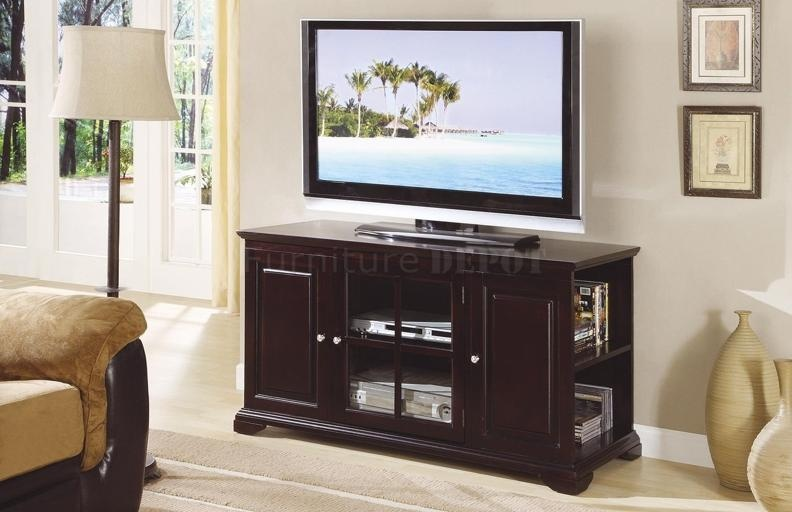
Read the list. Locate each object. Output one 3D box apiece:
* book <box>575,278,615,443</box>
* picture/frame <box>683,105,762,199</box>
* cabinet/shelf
[{"bbox_3d":[0.953,0.504,3.166,0.230,0.748,0.437,4,13,16],"label":"book"},{"bbox_3d":[1.538,-0.494,3.072,0.442,0.545,0.057,4,13,26],"label":"picture/frame"},{"bbox_3d":[0.164,0.479,3.543,1.986,1.043,0.713,3,5,33],"label":"cabinet/shelf"}]
